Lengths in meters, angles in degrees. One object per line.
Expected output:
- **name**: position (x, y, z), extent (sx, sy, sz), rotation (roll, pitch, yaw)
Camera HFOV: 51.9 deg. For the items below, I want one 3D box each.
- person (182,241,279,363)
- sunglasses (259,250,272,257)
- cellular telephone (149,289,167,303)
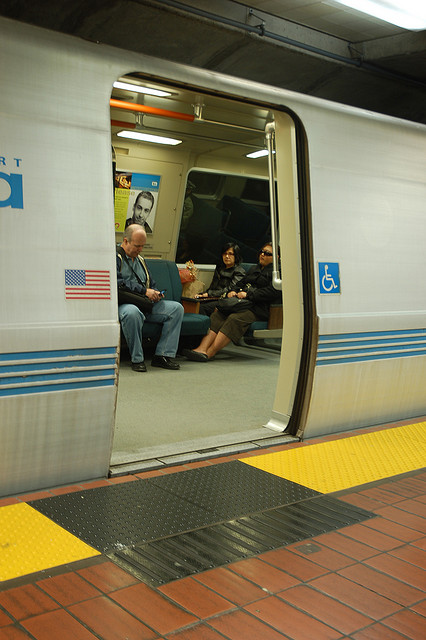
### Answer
- **person**: position (0.384, -0.358, 7.239), extent (1.038, 1.563, 2.695), rotation (0, 10, 40)
- **sunglasses**: position (0.870, -1.105, 7.371), extent (0.116, 0.120, 0.236), rotation (0, 5, -41)
- **cellular telephone**: position (-0.798, -0.365, 6.506), extent (0.335, 0.091, 0.082), rotation (-35, -14, 14)
